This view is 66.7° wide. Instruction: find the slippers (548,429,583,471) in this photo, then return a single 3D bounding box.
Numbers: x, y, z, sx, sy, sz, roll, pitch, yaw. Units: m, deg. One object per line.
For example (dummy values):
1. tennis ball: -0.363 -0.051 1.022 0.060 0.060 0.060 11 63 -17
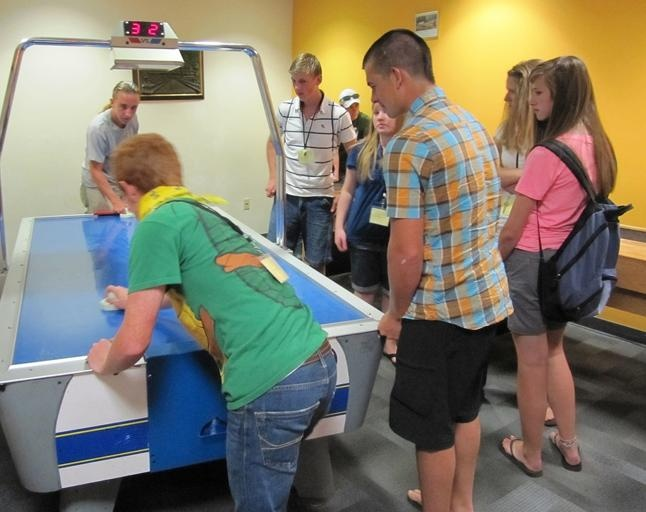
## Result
1. slippers: 1.138 0.906 2.326 0.079 0.077 0.195 -6 30 9
